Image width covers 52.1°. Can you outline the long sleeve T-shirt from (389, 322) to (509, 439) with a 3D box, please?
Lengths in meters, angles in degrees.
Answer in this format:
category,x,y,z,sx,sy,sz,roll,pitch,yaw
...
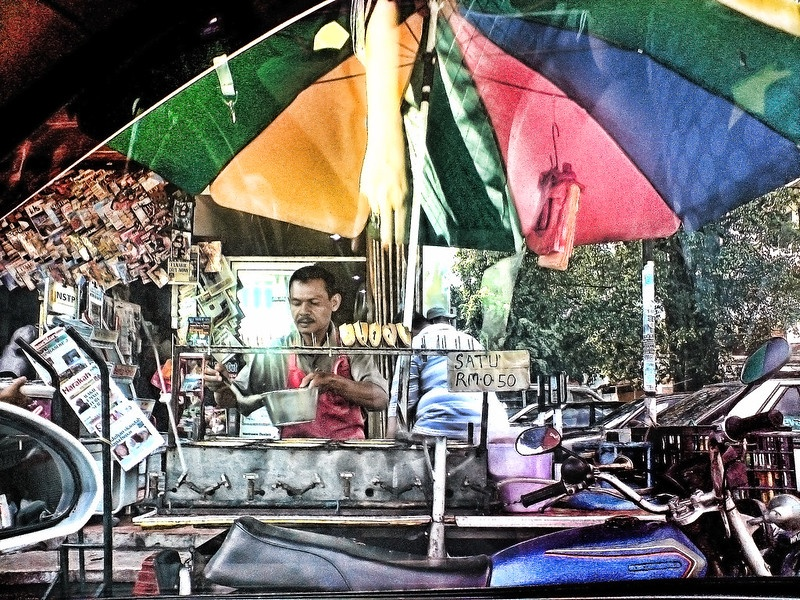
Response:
category,x,y,z,sx,sy,sz,roll,pitch,yaw
long sleeve T-shirt,0.264,0.366,3.912,0.438,0.473,0.265,-6,-13,13

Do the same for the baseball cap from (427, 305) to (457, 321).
category,x,y,z,sx,sy,sz,roll,pitch,yaw
baseball cap,0.191,0.059,3.847,0.094,0.047,0.070,-5,-6,12

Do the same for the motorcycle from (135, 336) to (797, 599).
category,x,y,z,sx,sy,sz,roll,pitch,yaw
motorcycle,0.556,0.682,3.998,2.430,1.446,1.302,-3,-10,-5

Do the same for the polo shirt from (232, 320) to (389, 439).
category,x,y,z,sx,sy,sz,roll,pitch,yaw
polo shirt,-0.449,0.445,4.085,0.706,0.567,0.452,3,-25,-9

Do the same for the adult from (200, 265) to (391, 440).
category,x,y,z,sx,sy,sz,roll,pitch,yaw
adult,-0.499,0.416,3.948,0.756,1.168,0.558,0,-8,-11

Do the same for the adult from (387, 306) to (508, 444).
category,x,y,z,sx,sy,sz,roll,pitch,yaw
adult,0.254,0.337,3.905,0.467,0.360,1.116,-5,29,2
